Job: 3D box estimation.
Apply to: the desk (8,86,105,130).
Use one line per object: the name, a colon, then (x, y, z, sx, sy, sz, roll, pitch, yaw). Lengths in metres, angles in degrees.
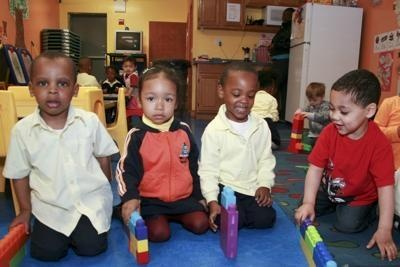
desk: (-1.001, -0.234, 2.307, 0.417, 0.264, 0.308, 0, 12, -3)

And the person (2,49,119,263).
person: (-0.742, 0.098, 1.743, 0.585, 1.028, 0.460, -3, 14, -14)

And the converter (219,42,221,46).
converter: (0.365, -1.624, 5.912, 0.065, 0.104, 0.065, 1, 13, 1)

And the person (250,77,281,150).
person: (0.778, -0.274, 3.729, 0.418, 0.813, 0.370, 2, 9, 3)

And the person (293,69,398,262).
person: (0.859, 0.131, 1.820, 0.546, 0.951, 0.443, 5, 15, 21)

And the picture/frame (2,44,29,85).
picture/frame: (-2.597, -0.945, 4.539, 0.154, 0.515, 0.380, -6, 5, 8)

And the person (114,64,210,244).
person: (-0.225, 0.099, 1.847, 0.494, 0.934, 0.488, -3, 14, -15)

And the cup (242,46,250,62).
cup: (0.840, -1.452, 5.959, 0.145, 0.246, 0.315, 2, 13, 8)
